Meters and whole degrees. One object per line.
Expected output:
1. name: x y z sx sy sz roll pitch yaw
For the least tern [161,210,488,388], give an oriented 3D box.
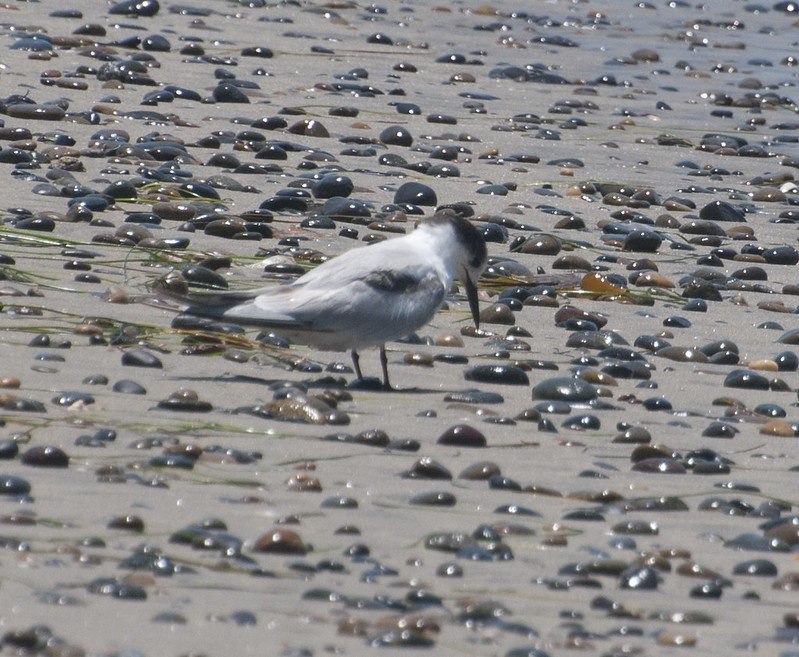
1. least tern: -0.231 -0.154 6.116 0.805 0.829 1.675 18 16 28
